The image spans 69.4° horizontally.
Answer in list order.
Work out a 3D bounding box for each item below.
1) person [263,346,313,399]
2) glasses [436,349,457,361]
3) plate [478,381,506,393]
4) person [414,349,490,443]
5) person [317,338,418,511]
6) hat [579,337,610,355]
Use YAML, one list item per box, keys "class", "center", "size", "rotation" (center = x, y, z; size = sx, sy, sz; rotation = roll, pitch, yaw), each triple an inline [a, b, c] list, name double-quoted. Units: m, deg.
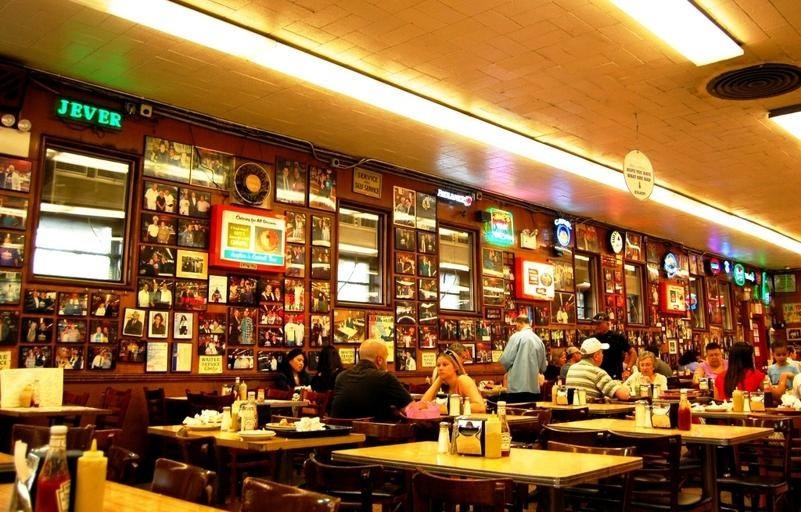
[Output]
- class: "person"
  center: [-1.723, 2.036, 9.372]
  size: [0.714, 0.948, 0.790]
  rotation: [-11, -18, 35]
- class: "glasses"
  center: [0.567, 1.177, 6.791]
  size: [0.213, 0.141, 0.245]
  rotation: [0, -14, 6]
- class: "plate"
  center: [1.647, 2.432, 10.555]
  size: [0.491, 0.105, 0.471]
  rotation: [5, -8, -35]
- class: "person"
  center: [0.625, 1.542, 6.753]
  size: [0.752, 0.795, 0.679]
  rotation: [21, -34, -39]
- class: "person"
  center: [-0.370, 1.531, 6.554]
  size: [0.878, 1.079, 0.855]
  rotation: [4, -1, 32]
- class: "hat"
  center: [2.699, 1.274, 8.181]
  size: [0.270, 0.240, 0.424]
  rotation: [-2, -14, 14]
